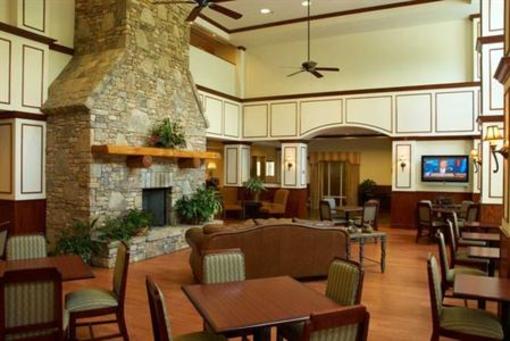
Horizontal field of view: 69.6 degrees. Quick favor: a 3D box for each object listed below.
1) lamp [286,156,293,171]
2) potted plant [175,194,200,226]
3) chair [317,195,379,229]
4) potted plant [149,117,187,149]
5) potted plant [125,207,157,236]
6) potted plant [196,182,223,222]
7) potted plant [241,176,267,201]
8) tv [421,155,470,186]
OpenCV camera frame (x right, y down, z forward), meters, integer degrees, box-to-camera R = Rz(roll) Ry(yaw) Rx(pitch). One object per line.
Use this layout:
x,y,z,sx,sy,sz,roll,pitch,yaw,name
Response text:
1.202,-0.234,12.824,0.211,0.450,0.095,-1,-1,17,lamp
-1.793,1.059,9.673,0.736,0.601,0.699,2,-3,-5,potted plant
2.593,1.239,10.192,1.181,0.655,1.152,-3,3,-36,chair
-2.161,-0.884,9.256,0.934,0.807,0.797,2,-6,2,potted plant
-2.639,1.168,8.444,0.661,0.466,0.551,0,2,6,potted plant
-1.302,0.902,10.256,1.017,0.908,0.756,-1,-2,31,potted plant
-0.044,0.661,13.212,0.867,0.691,0.847,5,-5,-39,potted plant
5.869,-0.014,11.200,1.051,0.655,0.101,1,-2,21,tv
